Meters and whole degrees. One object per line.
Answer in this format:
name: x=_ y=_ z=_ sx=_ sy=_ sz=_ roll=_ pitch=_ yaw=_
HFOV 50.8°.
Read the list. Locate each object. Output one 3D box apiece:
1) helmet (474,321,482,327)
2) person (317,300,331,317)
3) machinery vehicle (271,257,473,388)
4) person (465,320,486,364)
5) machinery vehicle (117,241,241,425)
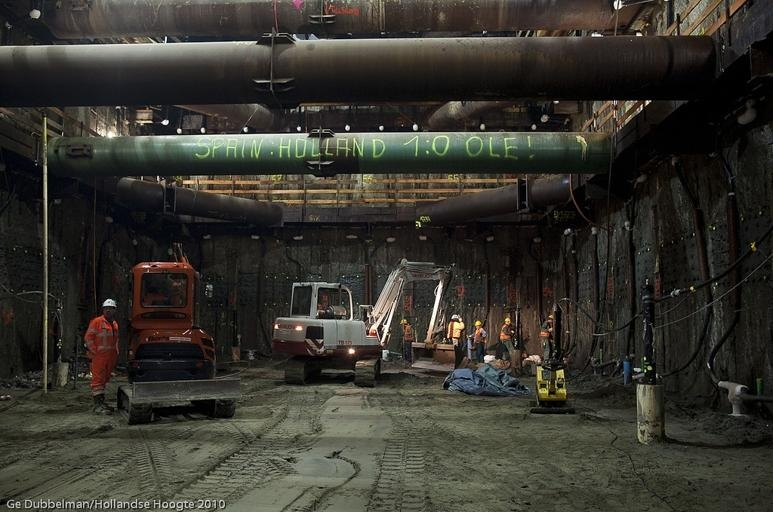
helmet: x=3.622 y=2.674 z=32.196 sx=0.304 sy=0.189 sz=0.473 roll=-2 pitch=-12 yaw=7
person: x=-2.056 y=1.768 z=26.674 sx=0.242 sy=0.526 sz=0.686 roll=6 pitch=11 yaw=37
machinery vehicle: x=-0.460 y=2.332 z=28.675 sx=6.255 sy=4.286 sz=2.788 roll=4 pitch=1 yaw=-32
person: x=3.433 y=3.324 z=31.039 sx=0.713 sy=1.731 sz=0.580 roll=-5 pitch=13 yaw=0
machinery vehicle: x=-6.378 y=2.139 z=22.512 sx=2.704 sy=4.202 sz=5.375 roll=-1 pitch=-4 yaw=-33
